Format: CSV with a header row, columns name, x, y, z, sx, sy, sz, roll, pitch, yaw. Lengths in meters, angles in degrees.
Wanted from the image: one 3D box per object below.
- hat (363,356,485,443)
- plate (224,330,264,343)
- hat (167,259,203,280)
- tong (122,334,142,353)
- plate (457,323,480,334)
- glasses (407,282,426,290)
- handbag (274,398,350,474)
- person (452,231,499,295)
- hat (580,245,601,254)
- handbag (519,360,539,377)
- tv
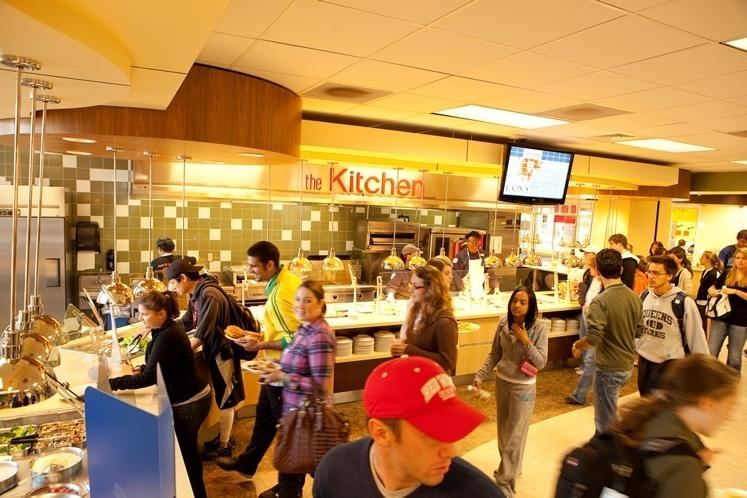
name,x,y,z,sx,sy,sz,roll,pitch,yaw
hat,0.261,0.700,2.395,0.611,0.281,0.403,3,10,34
plate,-1.229,0.836,4.497,0.220,0.050,0.215,11,2,-2
hat,-2.074,0.234,5.221,0.367,0.192,0.247,-22,10,-20
tong,-2.446,0.958,4.848,0.111,0.105,0.419,-6,4,-15
plate,1.206,1.022,6.093,0.203,0.033,0.203,1,6,30
glasses,0.419,0.349,4.510,0.108,0.051,0.084,14,-11,-17
handbag,-0.478,1.518,3.818,0.621,0.510,0.281,-4,-7,0
person,1.703,0.550,7.886,0.668,1.514,0.740,-5,13,8
hat,3.330,0.020,7.200,0.359,0.124,0.225,2,2,0
handbag,1.380,1.076,4.251,0.142,0.140,0.049,32,-22,-6
tv,2.555,-1.131,7.582,1.399,0.905,0.128,-1,13,-28
